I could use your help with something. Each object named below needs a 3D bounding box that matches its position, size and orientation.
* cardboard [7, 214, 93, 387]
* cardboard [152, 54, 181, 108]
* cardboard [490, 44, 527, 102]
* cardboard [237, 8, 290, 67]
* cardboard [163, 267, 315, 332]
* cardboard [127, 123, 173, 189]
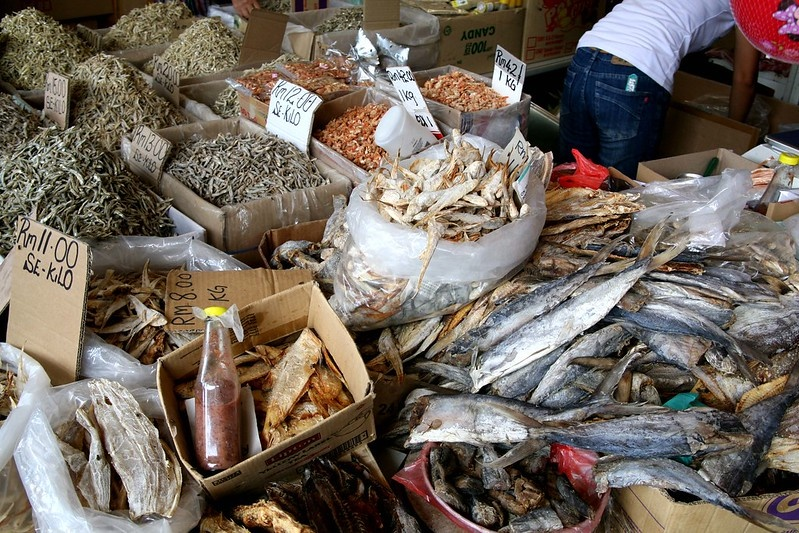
[{"bbox_3d":[-1.364,0.161,2.118,0.544,0.602,0.045,19,12,28],"label":"cardboard"},{"bbox_3d":[-1.619,-1.309,3.816,0.146,0.305,0.247,-29,53,-24],"label":"cardboard"},{"bbox_3d":[0.691,-1.220,3.462,0.204,0.348,0.337,6,47,7],"label":"cardboard"},{"bbox_3d":[-1.065,-1.775,4.170,0.437,0.365,0.120,-31,54,-26],"label":"cardboard"},{"bbox_3d":[-0.657,0.212,2.382,0.684,0.162,0.437,0,42,-19],"label":"cardboard"},{"bbox_3d":[-1.450,-0.658,3.083,0.024,0.321,0.227,20,79,12],"label":"cardboard"}]
